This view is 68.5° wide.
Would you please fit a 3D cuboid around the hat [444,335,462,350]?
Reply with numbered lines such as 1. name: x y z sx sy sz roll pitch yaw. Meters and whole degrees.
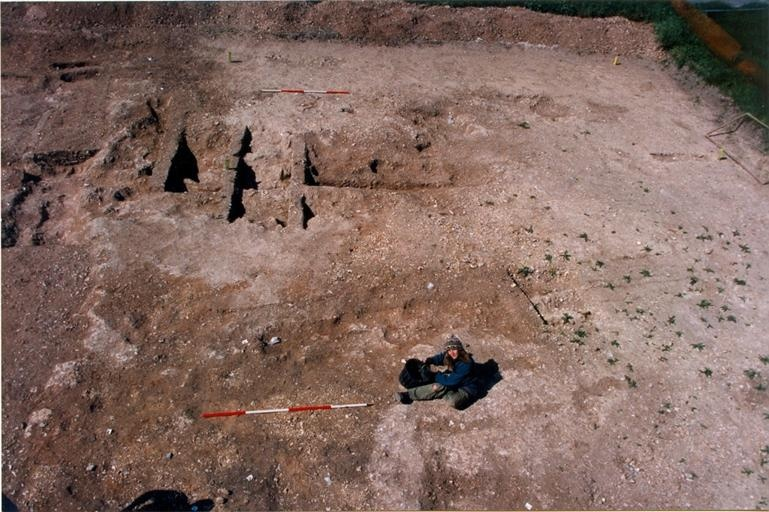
1. hat: 2.136 2.709 17.704 0.377 0.463 0.381 -2 91 -1
